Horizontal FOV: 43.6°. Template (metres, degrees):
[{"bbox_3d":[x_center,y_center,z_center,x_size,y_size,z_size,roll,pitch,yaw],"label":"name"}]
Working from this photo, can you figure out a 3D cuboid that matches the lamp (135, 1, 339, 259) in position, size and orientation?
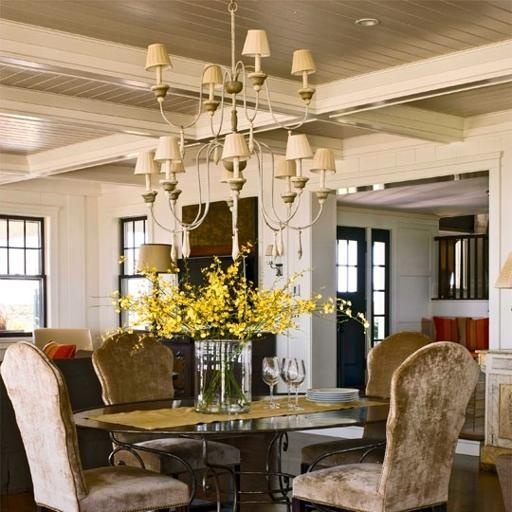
[{"bbox_3d":[-0.073,-0.915,4.866,1.557,1.923,1.610,-3,2,-38],"label":"lamp"}]

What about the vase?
[{"bbox_3d":[-0.153,0.548,2.911,0.318,0.300,0.292,-1,-12,-2],"label":"vase"}]

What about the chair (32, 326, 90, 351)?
[{"bbox_3d":[-2.519,1.074,8.459,0.652,0.375,0.579,1,-1,-13],"label":"chair"}]
